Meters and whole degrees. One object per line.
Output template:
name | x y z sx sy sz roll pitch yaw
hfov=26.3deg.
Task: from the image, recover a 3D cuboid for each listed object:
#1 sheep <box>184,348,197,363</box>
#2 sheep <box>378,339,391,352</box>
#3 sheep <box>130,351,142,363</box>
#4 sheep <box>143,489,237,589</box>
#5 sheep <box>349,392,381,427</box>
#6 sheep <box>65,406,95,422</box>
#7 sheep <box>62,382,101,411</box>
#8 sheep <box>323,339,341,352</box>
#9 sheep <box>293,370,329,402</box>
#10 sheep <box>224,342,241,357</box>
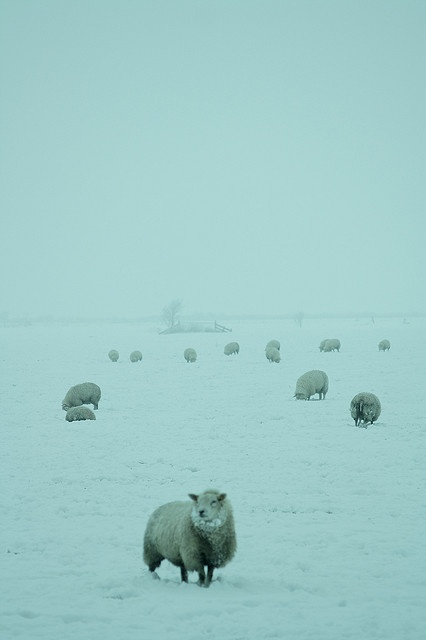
sheep | -1.053 1.663 42.702 0.518 0.786 1.571 2 -3 -3
sheep | 8.642 1.332 46.087 0.539 0.541 0.977 1 10 9
sheep | -3.548 1.751 42.603 0.422 0.407 0.538 -2 -29 -3
sheep | -0.374 3.345 14.099 1.349 1.431 0.811 5 11 27
sheep | 3.876 2.245 23.170 0.680 0.787 0.651 0 10 3
sheep | -3.487 2.504 24.270 0.808 0.318 0.628 -4 10 -20
sheep | -3.762 2.147 26.014 1.230 0.775 0.542 -5 -5 -23
sheep | 5.979 1.307 46.464 0.913 0.611 1.656 1 10 6
sheep | 2.976 2.024 27.451 0.778 0.867 1.365 5 11 27
sheep | 0.955 1.471 45.817 0.721 0.661 1.086 -1 10 -2
